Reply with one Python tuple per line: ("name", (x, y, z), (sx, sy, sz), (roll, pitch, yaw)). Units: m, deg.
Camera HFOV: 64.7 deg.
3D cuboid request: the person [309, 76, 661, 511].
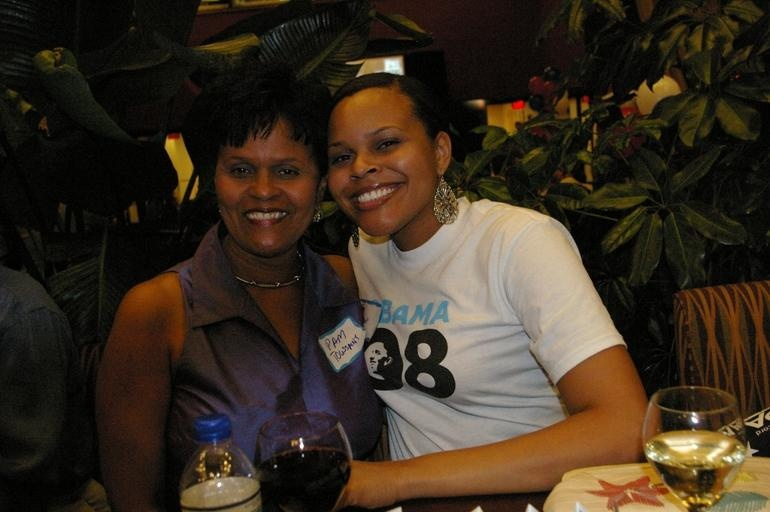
("person", (0.260, 0.043, 2.093), (0.877, 1.374, 0.580), (-8, -6, -4))
